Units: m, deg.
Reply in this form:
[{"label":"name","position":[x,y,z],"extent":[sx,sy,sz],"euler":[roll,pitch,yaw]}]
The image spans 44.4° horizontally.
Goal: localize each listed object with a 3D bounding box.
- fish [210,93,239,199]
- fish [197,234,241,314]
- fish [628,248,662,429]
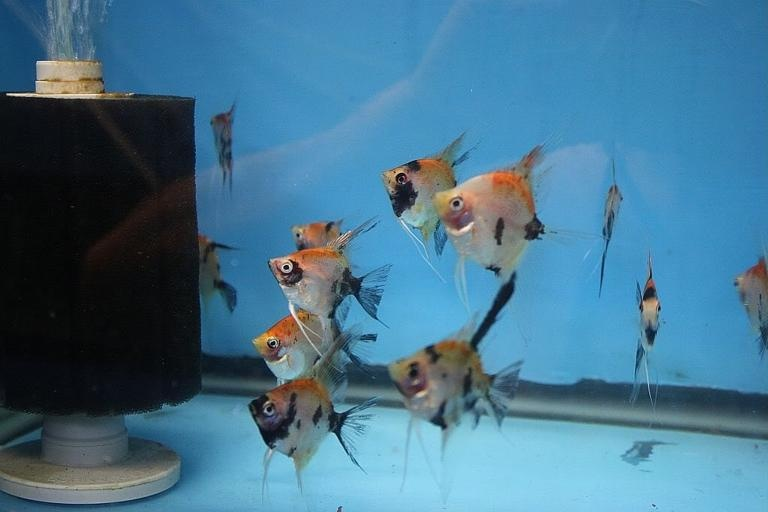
[{"label":"fish","position":[-0.739,-0.485,4.223],"extent":[0.114,0.321,0.047],"euler":[3,-2,-1]},{"label":"fish","position":[-0.768,0.068,4.301],"extent":[0.182,0.279,0.138],"euler":[-6,4,11]},{"label":"fish","position":[1.162,0.330,4.166],"extent":[0.115,0.671,0.110],"euler":[3,-2,14]}]
